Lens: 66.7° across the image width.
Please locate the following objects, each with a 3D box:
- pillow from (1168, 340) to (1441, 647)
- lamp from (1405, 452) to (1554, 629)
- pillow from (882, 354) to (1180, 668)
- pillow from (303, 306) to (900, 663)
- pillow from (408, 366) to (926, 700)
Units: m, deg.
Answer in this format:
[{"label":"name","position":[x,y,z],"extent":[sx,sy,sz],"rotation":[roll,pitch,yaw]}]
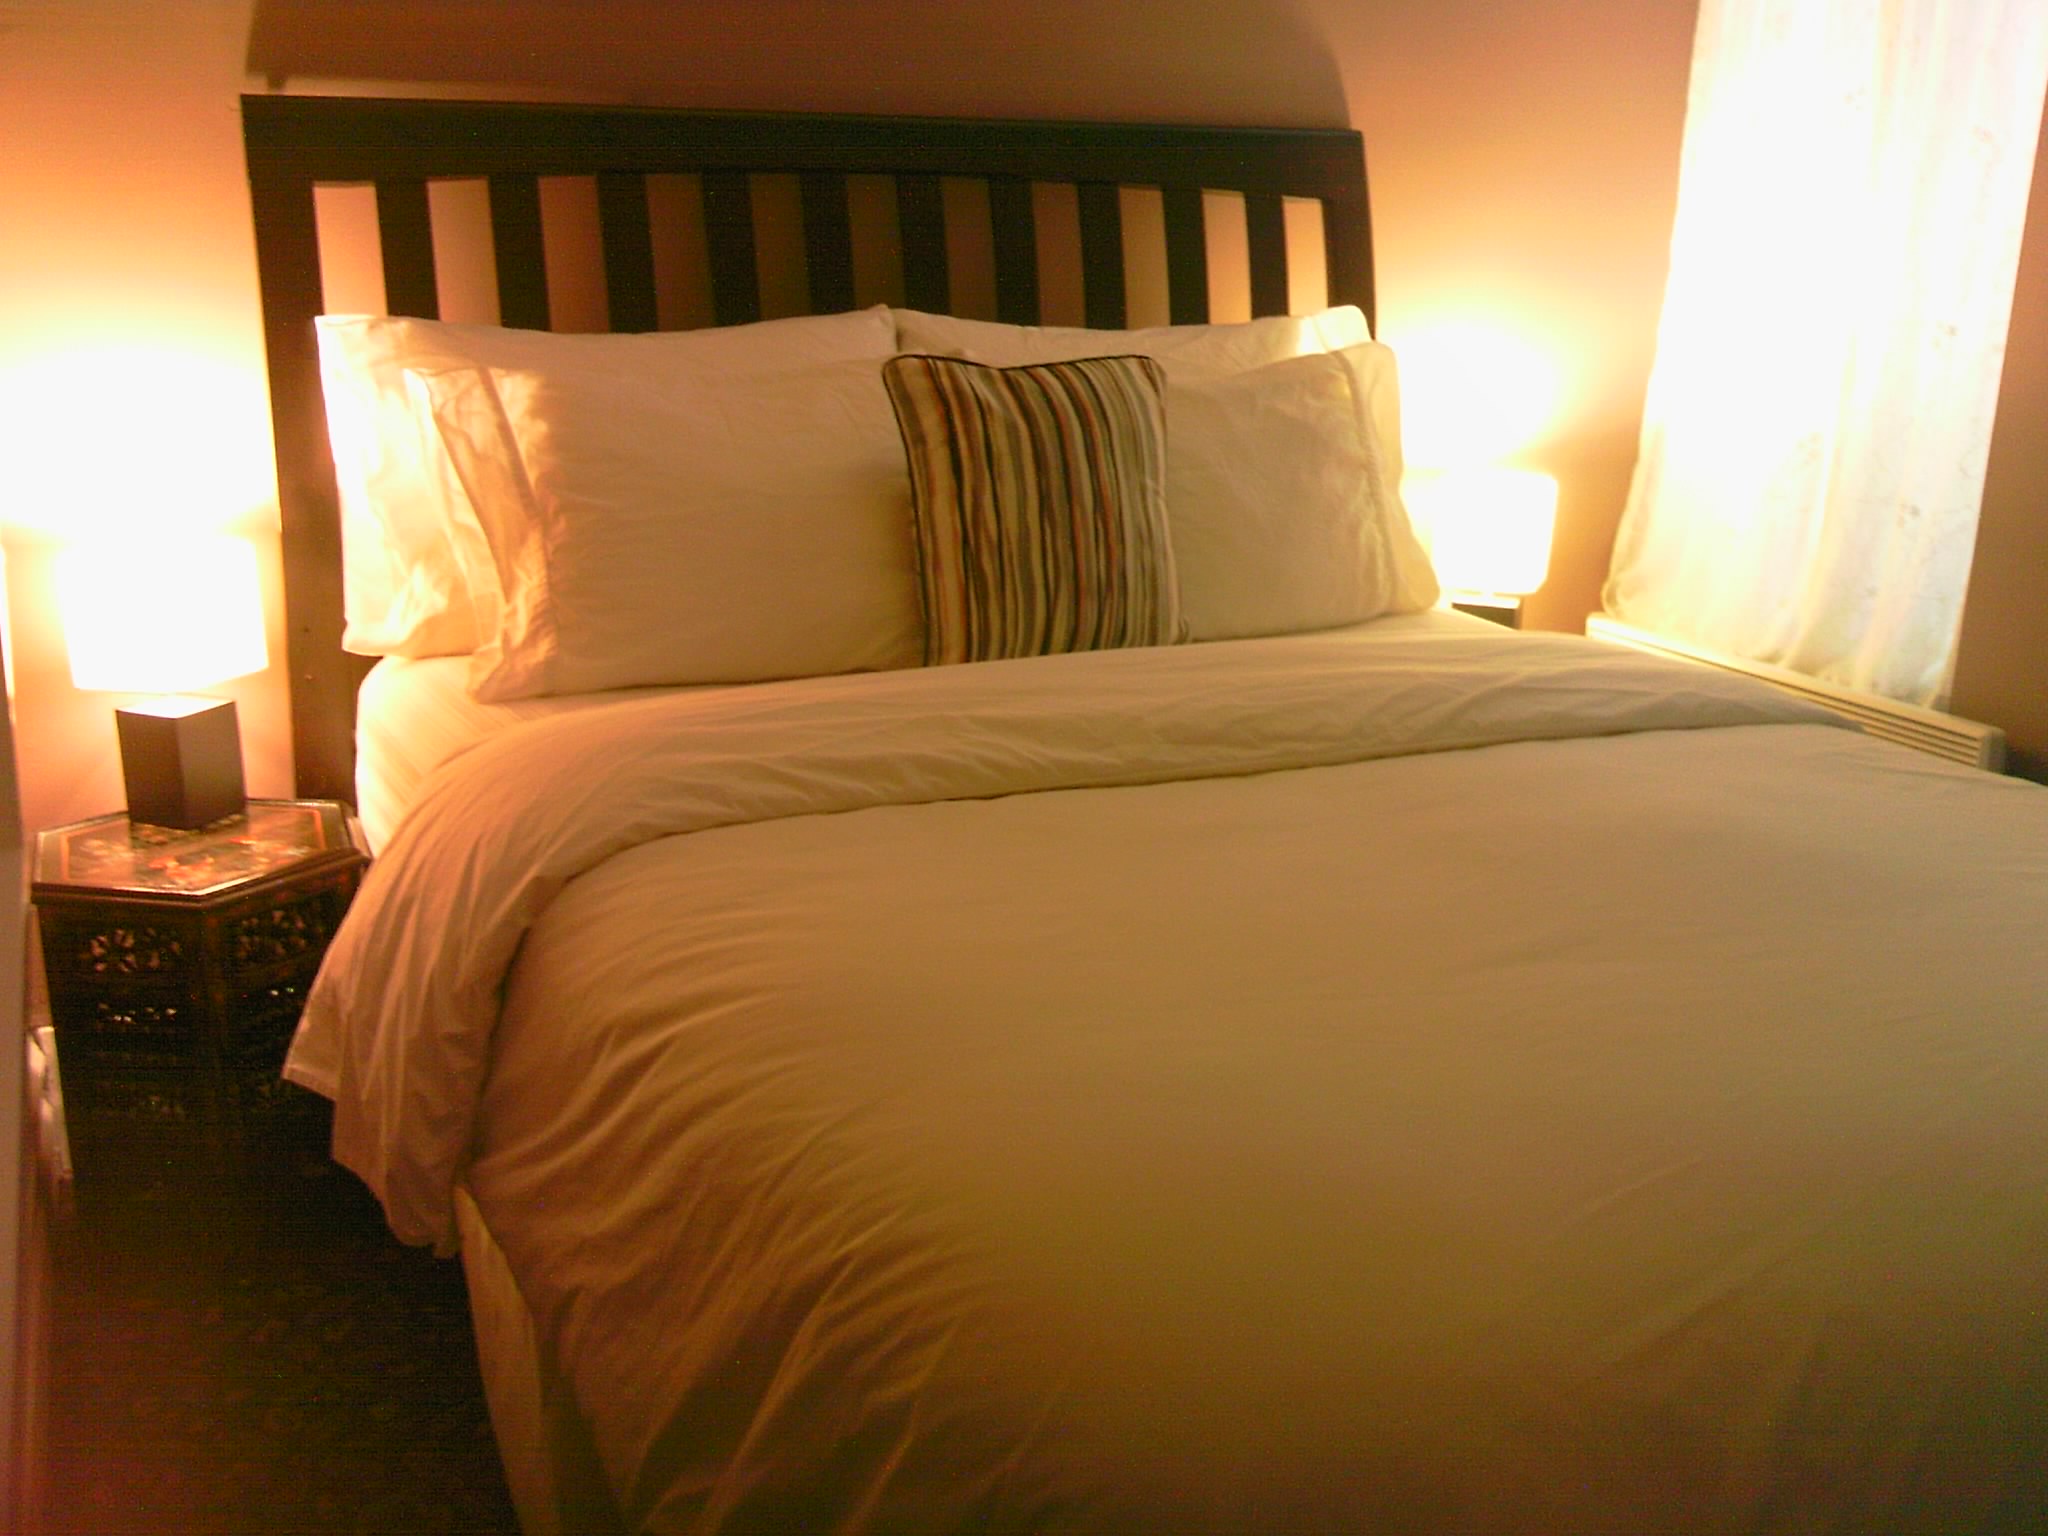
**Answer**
[{"label":"pillow","position":[0.395,-0.408,2.420],"extent":[0.496,0.466,0.147],"rotation":[-6,2,-34]},{"label":"lamp","position":[0.937,-0.452,3.119],"extent":[0.338,0.325,0.136],"rotation":[8,8,12]},{"label":"pillow","position":[-0.003,-0.345,2.172],"extent":[0.417,0.421,0.148],"rotation":[-6,-8,-20]},{"label":"pillow","position":[-0.589,-0.386,2.164],"extent":[0.510,0.315,0.113],"rotation":[-10,10,-19]},{"label":"pillow","position":[-0.502,-0.251,2.309],"extent":[0.562,0.501,0.162],"rotation":[-3,-8,-20]}]
